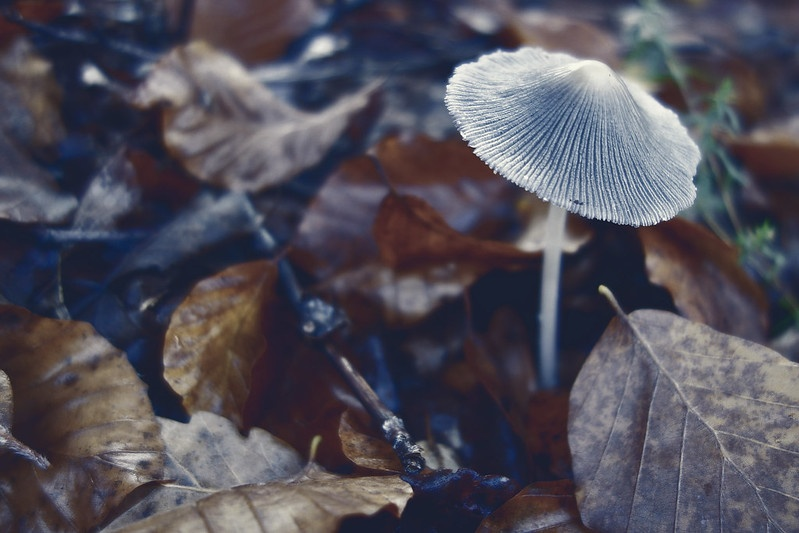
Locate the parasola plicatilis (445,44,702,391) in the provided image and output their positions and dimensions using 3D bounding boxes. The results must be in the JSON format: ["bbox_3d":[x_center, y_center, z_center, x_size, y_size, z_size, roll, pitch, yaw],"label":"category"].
[{"bbox_3d":[0.584,-0.159,4.491,1.005,1.114,0.775,2,47,8],"label":"parasola plicatilis"}]
